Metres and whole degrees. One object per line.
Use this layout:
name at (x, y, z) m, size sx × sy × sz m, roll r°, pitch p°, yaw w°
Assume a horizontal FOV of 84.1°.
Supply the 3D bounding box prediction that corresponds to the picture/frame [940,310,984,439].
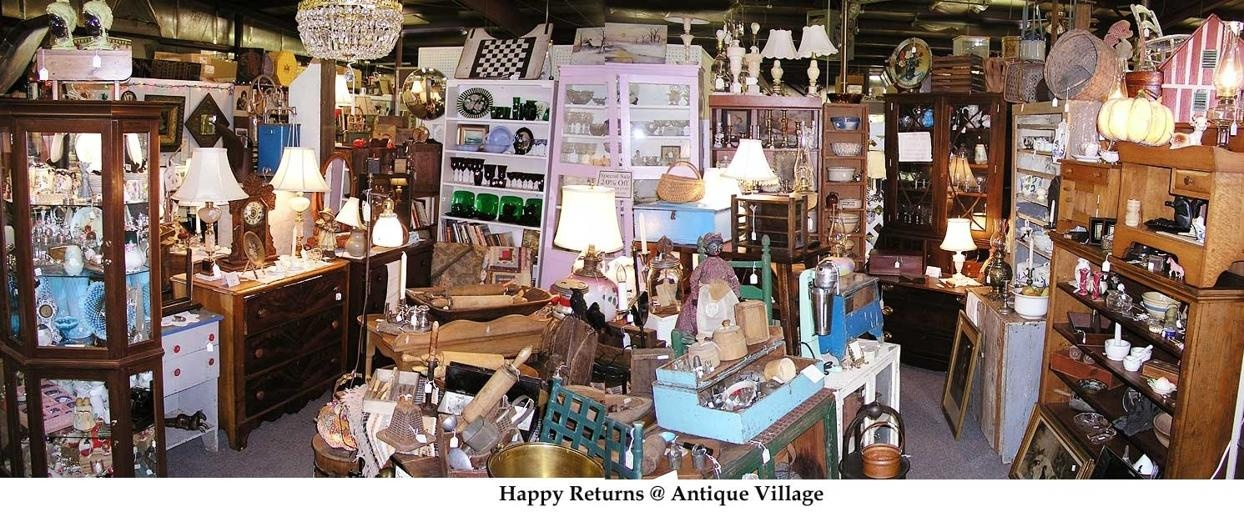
picture/frame at (4.540, 1.560, 9.236) m, size 0.389 × 1.513 × 0.834 m, roll 3°, pitch 10°, yaw 16°

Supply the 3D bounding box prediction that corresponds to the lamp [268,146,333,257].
lamp at (-4.567, -0.766, 9.840) m, size 0.687 × 1.547 × 1.161 m, roll -4°, pitch 11°, yaw -23°

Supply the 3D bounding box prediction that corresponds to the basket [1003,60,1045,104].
basket at (6.089, -2.618, 10.390) m, size 0.308 × 0.631 × 0.612 m, roll -4°, pitch 10°, yaw -23°

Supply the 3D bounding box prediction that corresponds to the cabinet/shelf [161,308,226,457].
cabinet/shelf at (-5.348, 1.553, 8.668) m, size 0.715 × 1.747 × 0.506 m, roll -5°, pitch 11°, yaw -26°

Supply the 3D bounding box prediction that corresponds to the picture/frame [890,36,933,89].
picture/frame at (4.918, -3.244, 11.787) m, size 0.742 × 0.840 × 0.344 m, roll 6°, pitch 11°, yaw 29°

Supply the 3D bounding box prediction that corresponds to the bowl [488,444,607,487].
bowl at (-0.767, 1.840, 6.083) m, size 0.683 × 0.136 × 0.627 m, roll -6°, pitch 12°, yaw 1°

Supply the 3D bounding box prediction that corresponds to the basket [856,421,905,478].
basket at (2.715, 2.015, 7.418) m, size 0.721 × 0.504 × 0.570 m, roll 0°, pitch -3°, yaw 5°

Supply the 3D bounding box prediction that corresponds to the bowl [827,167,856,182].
bowl at (3.685, -1.373, 11.615) m, size 0.342 × 0.112 × 0.313 m, roll 0°, pitch 2°, yaw 0°

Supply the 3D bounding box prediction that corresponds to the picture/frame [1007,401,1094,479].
picture/frame at (5.102, 2.169, 8.173) m, size 0.089 × 0.736 × 0.915 m, roll 16°, pitch 25°, yaw -29°

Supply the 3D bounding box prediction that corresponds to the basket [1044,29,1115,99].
basket at (5.315, -2.205, 7.997) m, size 0.701 × 0.786 × 0.318 m, roll 5°, pitch 11°, yaw 27°

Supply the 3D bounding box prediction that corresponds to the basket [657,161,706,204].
basket at (0.902, -1.083, 10.042) m, size 0.761 × 0.546 × 0.438 m, roll 12°, pitch 19°, yaw 44°

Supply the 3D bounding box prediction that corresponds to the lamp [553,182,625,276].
lamp at (-0.390, -0.400, 8.124) m, size 1.085 × 0.798 × 0.900 m, roll 2°, pitch 10°, yaw 6°

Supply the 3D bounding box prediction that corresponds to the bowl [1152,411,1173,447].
bowl at (5.884, 1.862, 7.537) m, size 0.137 × 0.309 × 0.290 m, roll 6°, pitch 11°, yaw 29°

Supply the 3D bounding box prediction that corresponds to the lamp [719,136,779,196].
lamp at (1.768, -1.236, 9.695) m, size 1.095 × 0.700 × 0.854 m, roll 0°, pitch 4°, yaw 3°

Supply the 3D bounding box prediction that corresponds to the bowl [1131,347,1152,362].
bowl at (5.898, 1.088, 7.884) m, size 0.195 × 0.125 × 0.218 m, roll -4°, pitch 15°, yaw -2°

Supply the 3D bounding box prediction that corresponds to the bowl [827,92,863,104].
bowl at (3.777, -2.671, 11.772) m, size 0.556 × 0.186 × 0.410 m, roll 5°, pitch 10°, yaw 29°

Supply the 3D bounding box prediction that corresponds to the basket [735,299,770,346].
basket at (1.372, 0.662, 7.077) m, size 0.384 × 0.420 × 0.222 m, roll -6°, pitch 12°, yaw -33°

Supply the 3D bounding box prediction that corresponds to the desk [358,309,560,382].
desk at (-1.898, 0.974, 8.162) m, size 1.966 × 0.957 × 0.984 m, roll -3°, pitch 7°, yaw -19°

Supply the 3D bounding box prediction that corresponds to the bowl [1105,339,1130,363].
bowl at (5.662, 1.074, 7.896) m, size 0.315 × 0.170 × 0.269 m, roll 1°, pitch -2°, yaw 10°

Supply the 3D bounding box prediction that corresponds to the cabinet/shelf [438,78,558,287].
cabinet/shelf at (-2.150, -1.284, 11.673) m, size 1.842 × 3.352 × 0.909 m, roll 5°, pitch 11°, yaw 24°

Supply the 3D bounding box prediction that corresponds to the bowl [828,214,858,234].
bowl at (3.675, -0.544, 11.321) m, size 0.519 × 0.201 × 0.435 m, roll 0°, pitch 1°, yaw -5°

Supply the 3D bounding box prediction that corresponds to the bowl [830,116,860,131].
bowl at (3.775, -2.217, 11.627) m, size 0.344 × 0.101 × 0.288 m, roll 0°, pitch 5°, yaw -1°

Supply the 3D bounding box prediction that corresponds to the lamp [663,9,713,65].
lamp at (1.065, -3.495, 11.278) m, size 0.520 × 0.811 × 0.866 m, roll 4°, pitch 10°, yaw 18°
